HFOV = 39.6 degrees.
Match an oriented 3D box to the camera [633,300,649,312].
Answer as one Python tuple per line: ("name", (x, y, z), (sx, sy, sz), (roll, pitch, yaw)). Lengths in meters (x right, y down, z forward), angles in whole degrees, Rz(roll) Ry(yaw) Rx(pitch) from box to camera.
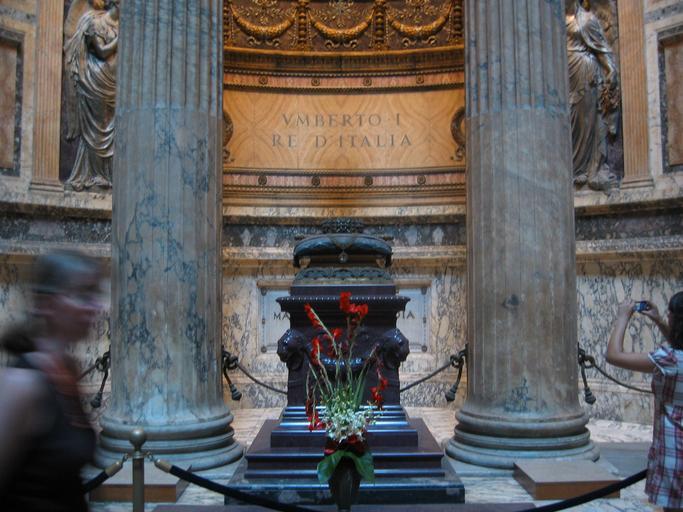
("camera", (2.800, 0.475, 8.926), (0.129, 0.154, 0.035), (16, -8, 22))
